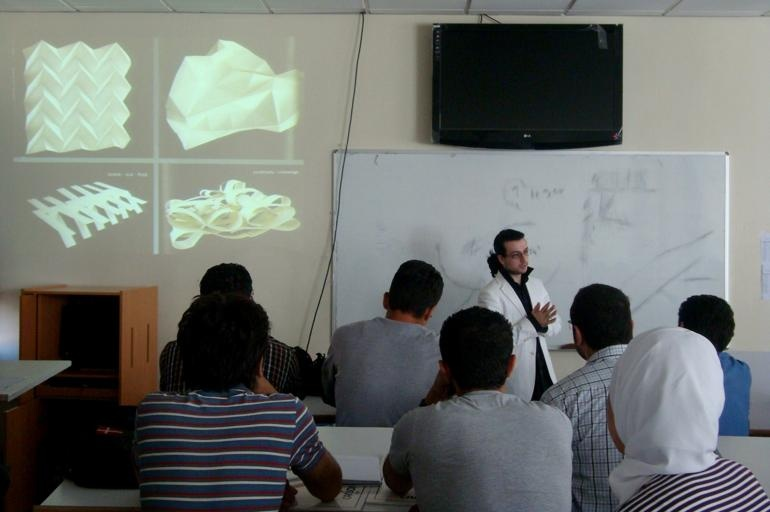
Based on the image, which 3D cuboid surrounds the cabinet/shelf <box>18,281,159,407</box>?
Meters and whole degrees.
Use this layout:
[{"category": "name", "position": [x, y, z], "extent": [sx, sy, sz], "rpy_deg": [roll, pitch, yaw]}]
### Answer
[{"category": "cabinet/shelf", "position": [-1.985, 0.578, 4.322], "extent": [0.708, 0.672, 0.553], "rpy_deg": [1, -2, 3]}]

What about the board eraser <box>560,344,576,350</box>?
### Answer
[{"category": "board eraser", "position": [1.312, 0.651, 4.645], "extent": [0.071, 0.027, 0.051], "rpy_deg": [0, 0, -6]}]
